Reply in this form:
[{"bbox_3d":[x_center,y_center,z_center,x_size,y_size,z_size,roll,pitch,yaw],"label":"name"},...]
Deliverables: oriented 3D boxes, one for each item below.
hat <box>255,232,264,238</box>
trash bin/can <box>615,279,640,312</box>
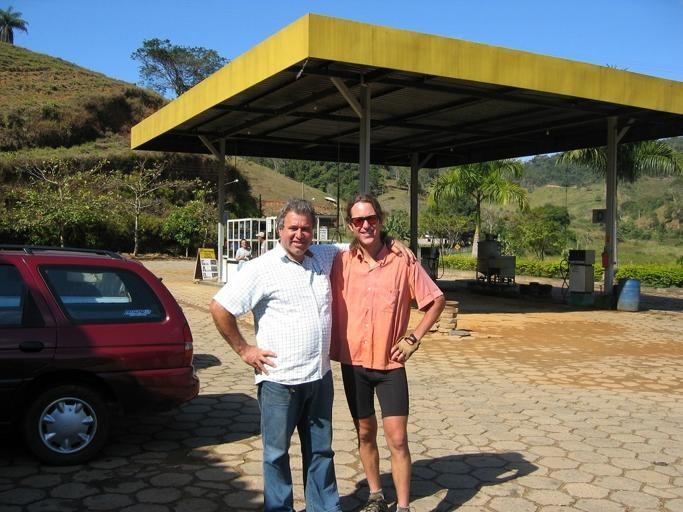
[{"bbox_3d":[-2.930,-0.794,21.017,0.219,0.145,0.214,0,-5,8],"label":"hat"},{"bbox_3d":[7.496,1.015,15.463,0.540,0.819,0.427,1,4,17],"label":"trash bin/can"}]
